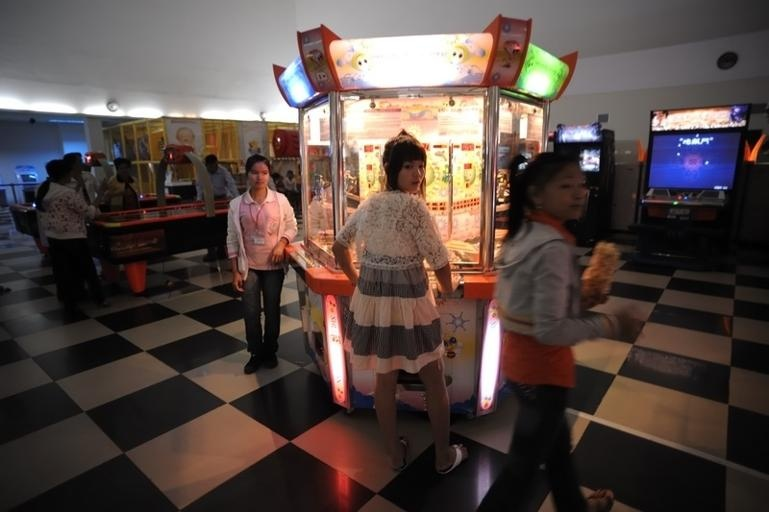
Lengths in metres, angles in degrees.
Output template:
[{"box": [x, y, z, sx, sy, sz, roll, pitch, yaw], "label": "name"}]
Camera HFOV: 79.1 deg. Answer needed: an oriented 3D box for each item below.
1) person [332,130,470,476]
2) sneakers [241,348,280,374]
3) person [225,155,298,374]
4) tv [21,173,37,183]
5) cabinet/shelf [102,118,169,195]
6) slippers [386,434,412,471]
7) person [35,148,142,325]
[{"box": [0.095, 0.415, 3.475, 1.056, 2.467, 0.816, 0, 10, 9], "label": "person"}, {"box": [-1.174, 1.000, 4.454, 0.406, 0.286, 0.142, -1, -2, -39], "label": "sneakers"}, {"box": [-1.115, 0.072, 4.367, 0.626, 1.981, 0.394, -6, 16, -18], "label": "person"}, {"box": [-11.491, -2.536, 15.100, 0.412, 0.247, 0.288, -13, 20, -37], "label": "tv"}, {"box": [-5.974, -2.127, 10.758, 0.651, 1.700, 1.984, 2, 16, 16], "label": "cabinet/shelf"}, {"box": [0.116, 1.459, 3.557, 0.103, 0.118, 0.307, 0, 40, 8], "label": "slippers"}, {"box": [-3.812, -0.290, 5.711, 0.557, 1.774, 1.133, -11, 18, -34], "label": "person"}]
